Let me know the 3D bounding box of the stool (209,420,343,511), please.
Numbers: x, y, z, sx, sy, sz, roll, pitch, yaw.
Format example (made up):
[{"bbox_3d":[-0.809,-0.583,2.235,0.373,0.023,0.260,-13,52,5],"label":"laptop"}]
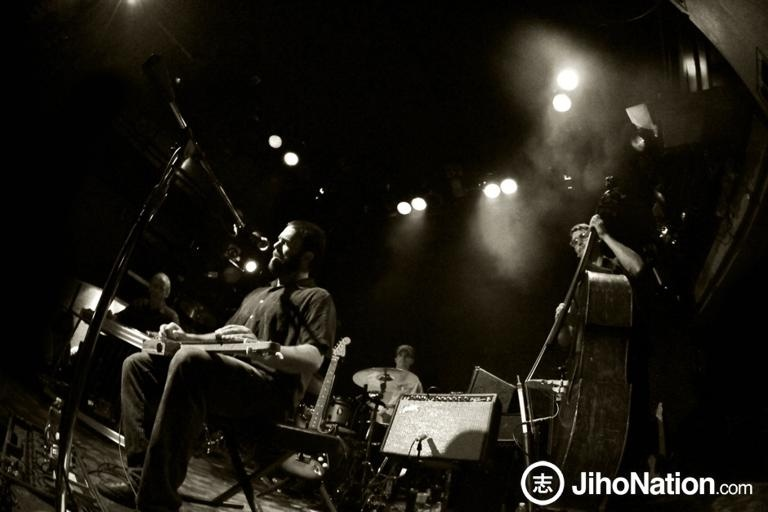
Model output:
[{"bbox_3d":[-1.071,2.107,5.848,1.190,0.858,0.908,9,-12,12],"label":"stool"}]

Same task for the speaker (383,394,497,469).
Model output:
[{"bbox_3d":[0.668,1.845,6.314,1.293,0.869,0.470,-11,-42,39],"label":"speaker"}]

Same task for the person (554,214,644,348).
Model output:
[{"bbox_3d":[2.671,0.202,7.291,0.494,1.746,0.889,8,-22,10],"label":"person"}]
